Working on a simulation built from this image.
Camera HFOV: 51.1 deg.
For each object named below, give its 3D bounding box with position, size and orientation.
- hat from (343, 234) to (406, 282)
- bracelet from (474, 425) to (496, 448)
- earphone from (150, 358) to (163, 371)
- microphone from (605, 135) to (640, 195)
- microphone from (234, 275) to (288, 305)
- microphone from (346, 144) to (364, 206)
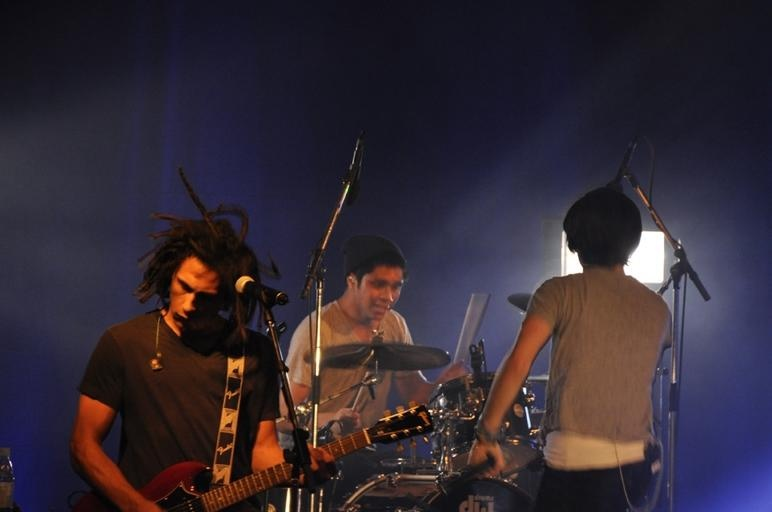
[{"bbox_3d":[-0.115,0.038,8.027,0.508,0.327,0.386,11,-9,-15],"label":"hat"},{"bbox_3d":[0.779,1.436,6.386,0.137,0.107,0.144,1,-8,2],"label":"bracelet"},{"bbox_3d":[-1.606,0.765,5.637,0.072,0.078,0.022,1,-6,-2],"label":"earphone"},{"bbox_3d":[2.252,-0.836,7.690,0.243,0.804,0.085,11,-35,27],"label":"microphone"},{"bbox_3d":[-0.831,0.221,5.376,0.433,0.165,0.153,21,38,39],"label":"microphone"},{"bbox_3d":[-0.260,-0.667,6.795,0.139,0.534,0.087,5,16,-1],"label":"microphone"}]
